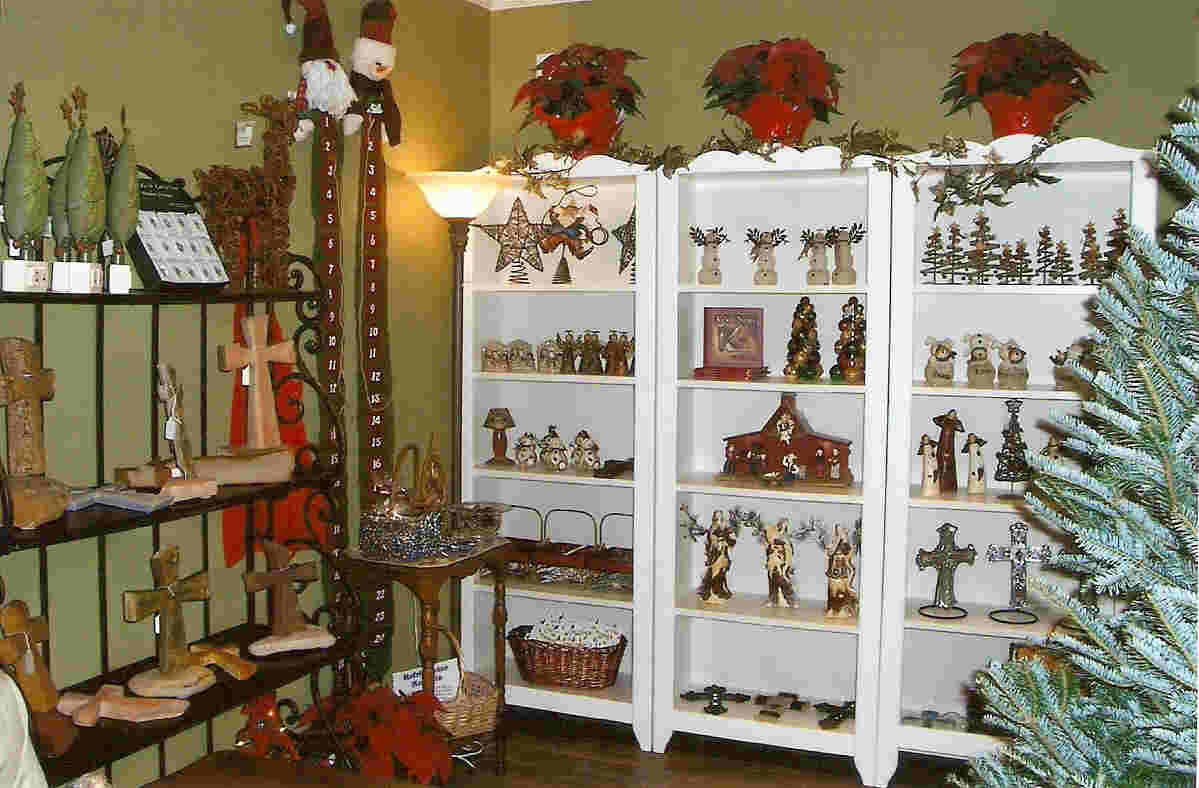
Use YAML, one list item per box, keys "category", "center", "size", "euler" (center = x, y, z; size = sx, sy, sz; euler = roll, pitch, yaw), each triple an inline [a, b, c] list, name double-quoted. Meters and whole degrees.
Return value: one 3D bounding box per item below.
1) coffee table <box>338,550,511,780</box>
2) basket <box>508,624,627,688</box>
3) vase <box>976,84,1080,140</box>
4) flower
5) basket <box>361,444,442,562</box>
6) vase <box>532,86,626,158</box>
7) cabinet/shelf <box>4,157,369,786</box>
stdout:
- category: "coffee table"
  center: [-0.699, 1.170, 4.890]
  size: [0.626, 0.937, 0.508]
  euler: [0, -5, -11]
- category: "basket"
  center: [-0.171, 1.244, 5.108]
  size: [0.367, 0.139, 0.295]
  euler: [1, -1, 31]
- category: "vase"
  center: [1.813, -1.131, 4.580]
  size: [0.268, 0.178, 0.277]
  euler: [-9, 10, -41]
- category: "flower"
  center: [0.938, -1.340, 4.850]
  size: [2.450, 0.477, 0.398]
  euler: [2, 5, 13]
- category: "basket"
  center: [-0.860, 0.436, 4.506]
  size: [0.352, 0.455, 0.361]
  euler: [9, 0, 25]
- category: "vase"
  center: [-0.138, -1.297, 5.200]
  size: [0.478, 0.279, 0.578]
  euler: [-3, -5, -5]
- category: "cabinet/shelf"
  center: [-1.503, 0.574, 3.809]
  size: [0.566, 1.127, 1.213]
  euler: [5, 6, 34]
